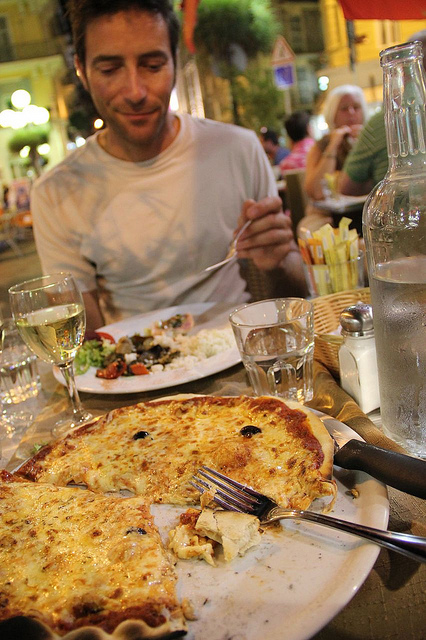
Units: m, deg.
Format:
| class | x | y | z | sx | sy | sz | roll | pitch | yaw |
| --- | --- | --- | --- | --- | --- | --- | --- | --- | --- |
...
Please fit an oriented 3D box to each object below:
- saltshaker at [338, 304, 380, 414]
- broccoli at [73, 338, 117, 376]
| class | x | y | z | sx | sy | sz | roll | pitch | yaw |
| --- | --- | --- | --- | --- | --- | --- | --- | --- | --- |
| saltshaker | 0.294 | 0.071 | 1.020 | 0.094 | 0.197 | 0.090 | -18 | 18 | -28 |
| broccoli | -0.359 | 0.111 | 1.603 | 0.106 | 0.036 | 0.100 | 0 | 30 | 0 |
